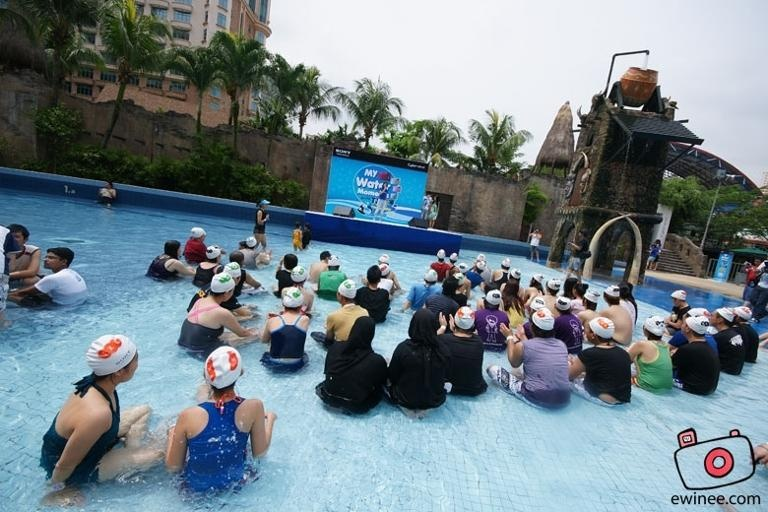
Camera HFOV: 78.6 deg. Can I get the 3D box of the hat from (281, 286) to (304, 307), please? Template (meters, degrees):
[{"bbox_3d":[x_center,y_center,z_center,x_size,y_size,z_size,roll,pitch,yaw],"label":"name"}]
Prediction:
[{"bbox_3d":[-1.478,0.685,7.598,0.297,0.346,0.275,5,12,-20],"label":"hat"}]

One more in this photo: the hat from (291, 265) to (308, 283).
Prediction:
[{"bbox_3d":[-1.603,0.344,8.709,0.240,0.308,0.269,12,-3,16],"label":"hat"}]

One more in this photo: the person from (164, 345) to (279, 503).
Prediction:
[{"bbox_3d":[-2.034,2.082,5.910,1.236,1.948,0.340,4,12,-24],"label":"person"}]

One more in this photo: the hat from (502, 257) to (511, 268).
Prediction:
[{"bbox_3d":[3.793,0.204,14.581,0.382,0.325,0.506,0,7,7],"label":"hat"}]

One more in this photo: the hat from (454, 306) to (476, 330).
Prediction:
[{"bbox_3d":[1.289,1.014,7.440,0.279,0.199,0.382,3,40,5],"label":"hat"}]

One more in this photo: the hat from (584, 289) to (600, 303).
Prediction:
[{"bbox_3d":[4.379,0.841,9.898,0.266,0.241,0.587,13,11,21],"label":"hat"}]

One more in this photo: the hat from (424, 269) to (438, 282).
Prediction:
[{"bbox_3d":[1.016,0.411,10.092,0.236,0.285,0.312,10,41,8],"label":"hat"}]

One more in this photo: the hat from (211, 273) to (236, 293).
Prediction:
[{"bbox_3d":[-2.633,0.438,7.772,0.348,0.232,0.316,6,16,21],"label":"hat"}]

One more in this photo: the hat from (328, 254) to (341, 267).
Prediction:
[{"bbox_3d":[-1.154,0.143,10.649,0.244,0.257,0.265,9,23,27],"label":"hat"}]

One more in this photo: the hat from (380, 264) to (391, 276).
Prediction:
[{"bbox_3d":[0.027,0.312,10.971,0.189,0.241,0.253,8,26,6],"label":"hat"}]

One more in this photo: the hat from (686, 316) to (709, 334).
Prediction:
[{"bbox_3d":[5.549,1.246,8.421,0.287,0.282,0.375,-3,6,-14],"label":"hat"}]

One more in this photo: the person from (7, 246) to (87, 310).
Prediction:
[{"bbox_3d":[-6.241,0.345,8.672,0.884,1.063,1.189,18,6,42],"label":"person"}]

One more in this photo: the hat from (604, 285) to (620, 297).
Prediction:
[{"bbox_3d":[4.873,0.758,10.000,0.242,0.176,0.338,8,-12,25],"label":"hat"}]

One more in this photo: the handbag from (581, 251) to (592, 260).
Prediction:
[{"bbox_3d":[7.119,-0.023,16.479,0.235,0.303,0.370,17,13,35],"label":"handbag"}]

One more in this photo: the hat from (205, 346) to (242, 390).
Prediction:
[{"bbox_3d":[-1.955,1.372,5.746,0.467,0.509,0.149,-6,-12,-2],"label":"hat"}]

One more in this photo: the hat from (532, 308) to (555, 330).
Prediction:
[{"bbox_3d":[2.609,1.070,7.693,0.270,0.195,0.360,-15,27,-14],"label":"hat"}]

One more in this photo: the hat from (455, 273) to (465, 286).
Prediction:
[{"bbox_3d":[1.671,0.503,10.254,0.223,0.301,0.304,9,-9,18],"label":"hat"}]

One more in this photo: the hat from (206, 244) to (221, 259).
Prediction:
[{"bbox_3d":[-3.661,-0.079,10.115,0.255,0.250,0.318,4,-12,-25],"label":"hat"}]

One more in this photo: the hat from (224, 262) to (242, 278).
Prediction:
[{"bbox_3d":[-2.849,0.273,8.773,0.312,0.248,0.242,33,36,27],"label":"hat"}]

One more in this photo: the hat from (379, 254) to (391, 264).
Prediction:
[{"bbox_3d":[0.025,0.105,11.203,0.224,0.237,0.250,5,17,4],"label":"hat"}]

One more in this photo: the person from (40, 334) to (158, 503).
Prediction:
[{"bbox_3d":[-3.523,2.018,5.871,1.224,2.117,0.655,1,14,-37],"label":"person"}]

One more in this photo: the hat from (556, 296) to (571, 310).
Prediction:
[{"bbox_3d":[3.411,0.929,8.937,0.288,0.273,0.282,13,12,18],"label":"hat"}]

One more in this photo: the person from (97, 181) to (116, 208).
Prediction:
[{"bbox_3d":[-11.349,-2.573,19.290,0.537,0.920,0.975,3,13,-28],"label":"person"}]

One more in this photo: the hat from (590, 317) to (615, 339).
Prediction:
[{"bbox_3d":[3.588,1.205,7.786,0.376,0.287,0.215,25,-24,36],"label":"hat"}]

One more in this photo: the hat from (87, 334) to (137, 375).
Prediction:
[{"bbox_3d":[-3.415,1.210,5.824,0.521,0.415,0.382,-9,30,-41],"label":"hat"}]

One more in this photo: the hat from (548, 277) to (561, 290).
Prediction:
[{"bbox_3d":[3.690,0.623,10.153,0.190,0.222,0.476,18,14,40],"label":"hat"}]

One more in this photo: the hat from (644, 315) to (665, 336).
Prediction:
[{"bbox_3d":[4.791,1.216,8.334,0.295,0.299,0.382,12,9,8],"label":"hat"}]

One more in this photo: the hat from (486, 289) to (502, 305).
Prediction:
[{"bbox_3d":[2.100,0.765,8.863,0.225,0.192,0.317,25,37,30],"label":"hat"}]

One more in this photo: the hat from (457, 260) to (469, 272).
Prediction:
[{"bbox_3d":[2.096,0.334,12.490,0.295,0.258,0.463,5,20,14],"label":"hat"}]

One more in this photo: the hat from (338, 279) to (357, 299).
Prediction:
[{"bbox_3d":[-0.641,0.554,8.088,0.338,0.272,0.248,20,16,31],"label":"hat"}]

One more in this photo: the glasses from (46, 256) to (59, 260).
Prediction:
[{"bbox_3d":[-5.859,0.010,8.288,0.179,0.069,0.040,7,11,-10],"label":"glasses"}]

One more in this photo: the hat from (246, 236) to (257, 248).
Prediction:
[{"bbox_3d":[-3.369,-0.356,11.936,0.252,0.291,0.426,5,12,-18],"label":"hat"}]
